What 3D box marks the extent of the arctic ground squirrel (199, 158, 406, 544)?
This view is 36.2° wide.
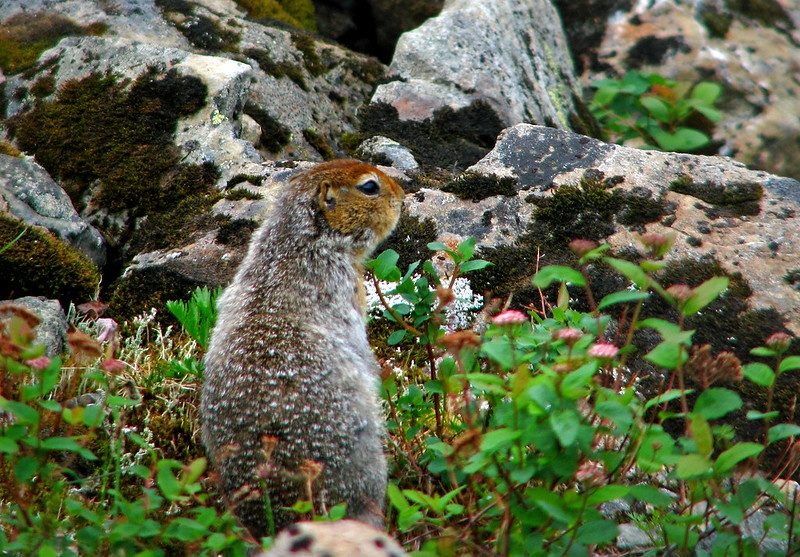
[{"bbox_3d":[-0.928,0.518,13.033,1.446,2.162,4.307,-9,56,16],"label":"arctic ground squirrel"}]
